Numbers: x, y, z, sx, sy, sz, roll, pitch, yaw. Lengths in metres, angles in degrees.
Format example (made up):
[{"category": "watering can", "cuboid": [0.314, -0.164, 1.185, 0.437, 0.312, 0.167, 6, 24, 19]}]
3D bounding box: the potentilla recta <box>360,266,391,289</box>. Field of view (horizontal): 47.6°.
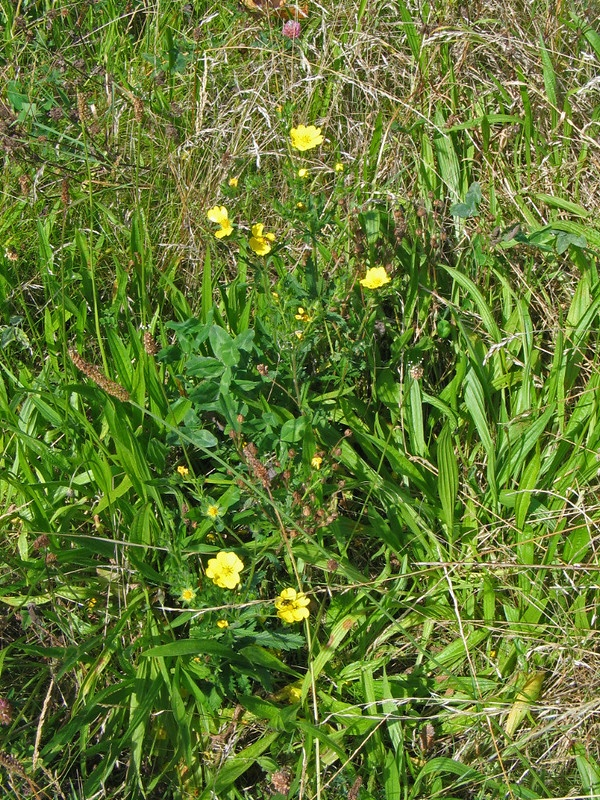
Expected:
[{"category": "potentilla recta", "cuboid": [0.177, -0.283, 1.575, 0.030, 0.065, 0.067, -10, 87, -54]}]
